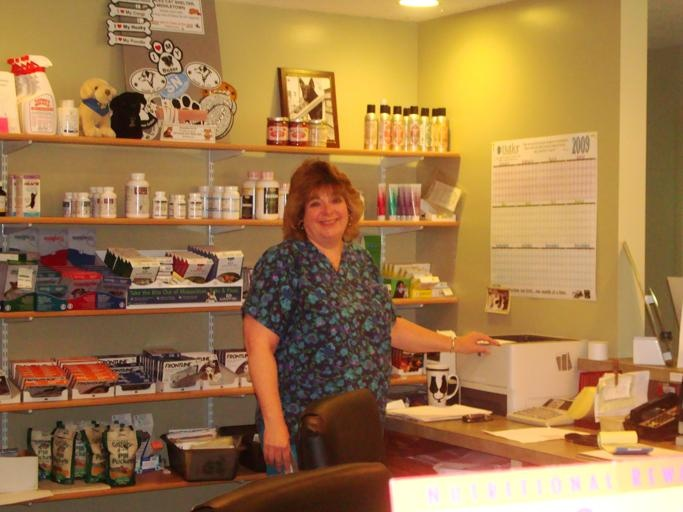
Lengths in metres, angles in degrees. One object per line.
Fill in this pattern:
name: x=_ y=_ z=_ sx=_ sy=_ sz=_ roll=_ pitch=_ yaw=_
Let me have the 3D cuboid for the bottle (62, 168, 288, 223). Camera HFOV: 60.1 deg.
bottle: x=-0.804 y=-0.308 z=3.191 sx=1.019 sy=0.296 sz=0.200 roll=-2 pitch=6 yaw=-34

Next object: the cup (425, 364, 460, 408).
cup: x=0.503 y=0.651 z=2.946 sx=0.180 sy=0.185 sz=0.117 roll=2 pitch=-9 yaw=-8

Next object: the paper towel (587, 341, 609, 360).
paper towel: x=1.246 y=0.461 z=2.885 sx=0.084 sy=0.063 sz=0.085 roll=0 pitch=4 yaw=-13

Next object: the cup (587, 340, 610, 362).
cup: x=1.251 y=0.458 z=2.888 sx=0.087 sy=0.064 sz=0.086 roll=1 pitch=3 yaw=0

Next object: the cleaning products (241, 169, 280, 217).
cleaning products: x=-0.446 y=-0.344 z=3.271 sx=0.229 sy=0.266 sz=0.235 roll=1 pitch=1 yaw=25

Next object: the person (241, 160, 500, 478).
person: x=-0.074 y=0.204 z=2.240 sx=0.592 sy=1.165 sz=0.402 roll=-2 pitch=2 yaw=-14

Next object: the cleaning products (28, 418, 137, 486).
cleaning products: x=-1.262 y=0.995 z=2.965 sx=0.441 sy=0.346 sz=0.310 roll=5 pitch=2 yaw=-24

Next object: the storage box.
storage box: x=-0.706 y=1.093 z=3.174 sx=0.315 sy=0.163 sz=0.448 roll=4 pitch=-15 yaw=-20
